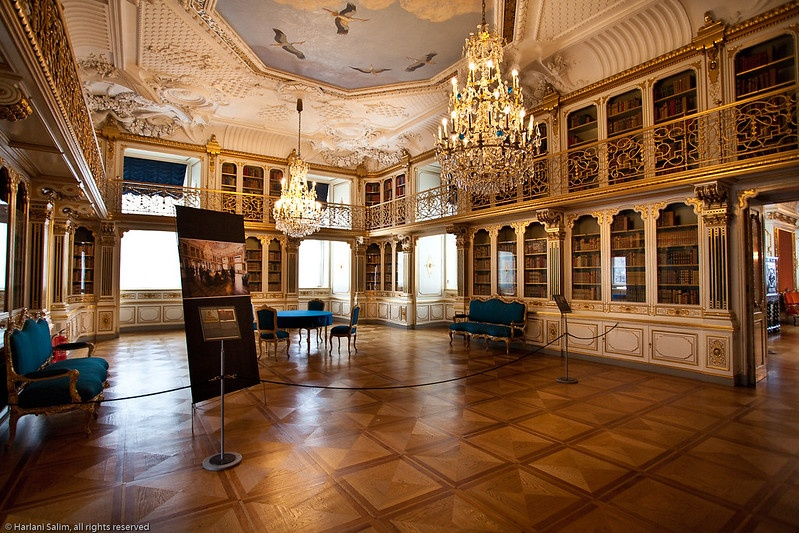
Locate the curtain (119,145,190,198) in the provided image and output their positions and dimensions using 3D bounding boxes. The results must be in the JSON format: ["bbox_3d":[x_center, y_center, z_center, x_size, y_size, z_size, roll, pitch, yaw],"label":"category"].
[{"bbox_3d":[-6.663,-2.559,13.499,1.699,1.127,0.070,1,0,-33],"label":"curtain"}]

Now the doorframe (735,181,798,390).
[{"bbox_3d":[6.308,0.364,8.704,1.012,3.346,0.687,1,-4,-37],"label":"doorframe"}]

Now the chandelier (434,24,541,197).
[{"bbox_3d":[1.306,-2.398,7.598,1.475,2.481,0.612,-2,-3,7],"label":"chandelier"}]

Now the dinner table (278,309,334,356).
[{"bbox_3d":[-2.154,1.350,11.140,1.110,0.558,1.080,0,-7,4],"label":"dinner table"}]

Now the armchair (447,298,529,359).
[{"bbox_3d":[2.004,1.264,11.471,0.902,1.119,1.984,-7,4,-36],"label":"armchair"}]
